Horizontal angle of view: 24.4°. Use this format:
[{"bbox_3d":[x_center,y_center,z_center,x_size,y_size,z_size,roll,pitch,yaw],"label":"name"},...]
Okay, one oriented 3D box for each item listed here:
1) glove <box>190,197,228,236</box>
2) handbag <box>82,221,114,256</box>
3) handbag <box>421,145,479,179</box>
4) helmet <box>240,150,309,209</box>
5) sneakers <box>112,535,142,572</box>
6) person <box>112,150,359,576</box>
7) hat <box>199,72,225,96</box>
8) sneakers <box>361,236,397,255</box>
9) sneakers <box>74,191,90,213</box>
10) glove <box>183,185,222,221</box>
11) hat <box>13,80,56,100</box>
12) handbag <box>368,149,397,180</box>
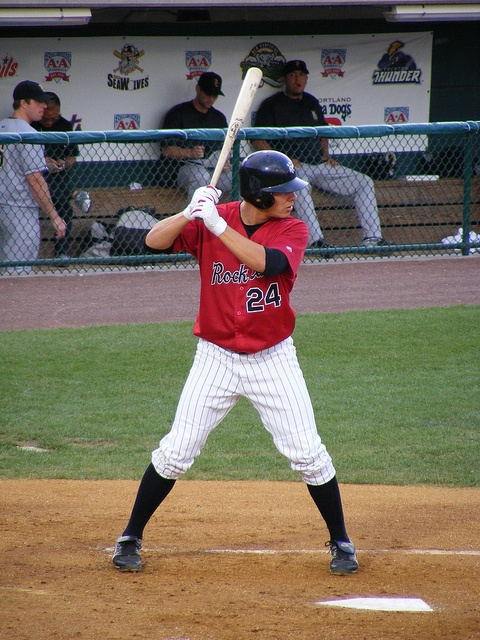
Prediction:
[{"bbox_3d":[-0.132,-0.443,4.857,0.066,0.110,0.171,-16,58,-40],"label":"glove"},{"bbox_3d":[-1.159,-0.645,9.198,0.235,0.294,0.092,10,4,3],"label":"handbag"},{"bbox_3d":[2.049,-1.551,10.971,0.593,0.339,1.609,-1,7,9],"label":"handbag"},{"bbox_3d":[0.144,-0.640,5.062,0.330,0.247,0.232,3,24,13],"label":"helmet"},{"bbox_3d":[-0.511,1.068,5.053,0.084,0.082,0.203,4,1,-15],"label":"sneakers"},{"bbox_3d":[-0.028,0.207,5.079,1.050,1.911,0.385,-2,9,1],"label":"person"},{"bbox_3d":[-0.276,-2.059,9.797,0.174,0.150,0.241,-7,45,-31],"label":"hat"},{"bbox_3d":[1.156,-0.622,9.667,0.127,0.131,0.328,-1,-1,-4],"label":"sneakers"},{"bbox_3d":[-1.320,-0.975,9.298,0.048,0.188,0.128,-15,-30,16],"label":"sneakers"},{"bbox_3d":[-0.170,-0.514,4.970,0.122,0.051,0.176,30,35,-6],"label":"glove"},{"bbox_3d":[-1.626,-1.773,8.733,0.252,0.141,0.159,-10,29,-19],"label":"hat"},{"bbox_3d":[1.355,-1.473,10.689,0.397,0.352,0.146,0,6,0],"label":"handbag"}]
